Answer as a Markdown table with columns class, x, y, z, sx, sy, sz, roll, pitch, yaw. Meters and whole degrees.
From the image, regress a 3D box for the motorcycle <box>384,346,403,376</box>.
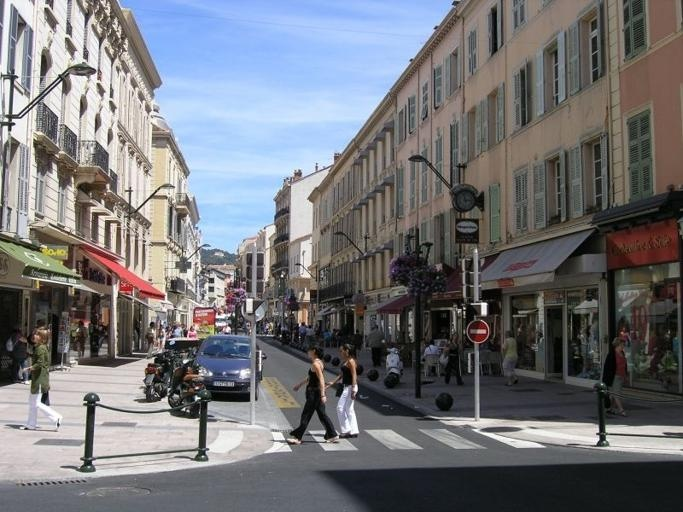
| class | x | y | z | sx | sy | sz | roll | pitch | yaw |
| --- | --- | --- | --- | --- | --- | --- | --- | --- | --- |
| motorcycle | 1.781 | 3.648 | 26.675 | 0.480 | 0.977 | 1.083 | -1 | -12 | 7 |

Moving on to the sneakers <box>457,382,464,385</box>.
| class | x | y | z | sx | sy | sz | roll | pitch | yaw |
| --- | --- | --- | --- | --- | --- | --- | --- | --- | --- |
| sneakers | 4.088 | 4.458 | 26.758 | 0.205 | 0.140 | 0.580 | -2 | -13 | 10 |

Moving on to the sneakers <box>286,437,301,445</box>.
| class | x | y | z | sx | sy | sz | roll | pitch | yaw |
| --- | --- | --- | --- | --- | --- | --- | --- | --- | --- |
| sneakers | -1.003 | 3.899 | 16.170 | 0.263 | 0.080 | 0.120 | 26 | -9 | -26 |

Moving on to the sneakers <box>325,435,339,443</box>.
| class | x | y | z | sx | sy | sz | roll | pitch | yaw |
| --- | --- | --- | --- | --- | --- | --- | --- | --- | --- |
| sneakers | -0.197 | 3.886 | 16.324 | 0.303 | 0.142 | 0.118 | 0 | -7 | 16 |

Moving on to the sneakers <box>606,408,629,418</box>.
| class | x | y | z | sx | sy | sz | roll | pitch | yaw |
| --- | --- | --- | --- | --- | --- | --- | --- | --- | --- |
| sneakers | 6.757 | 3.914 | 19.081 | 0.178 | 0.256 | 0.584 | -13 | -3 | -38 |

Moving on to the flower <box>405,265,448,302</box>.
| class | x | y | z | sx | sy | sz | roll | pitch | yaw |
| --- | --- | --- | --- | --- | --- | --- | --- | --- | --- |
| flower | 2.769 | 0.937 | 25.450 | 0.977 | 0.738 | 1.276 | -2 | -4 | -2 |

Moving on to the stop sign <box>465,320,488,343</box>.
| class | x | y | z | sx | sy | sz | roll | pitch | yaw |
| --- | --- | --- | --- | --- | --- | --- | --- | --- | --- |
| stop sign | 3.549 | 1.976 | 20.134 | 0.463 | 0.731 | 1.326 | -2 | -12 | 14 |
